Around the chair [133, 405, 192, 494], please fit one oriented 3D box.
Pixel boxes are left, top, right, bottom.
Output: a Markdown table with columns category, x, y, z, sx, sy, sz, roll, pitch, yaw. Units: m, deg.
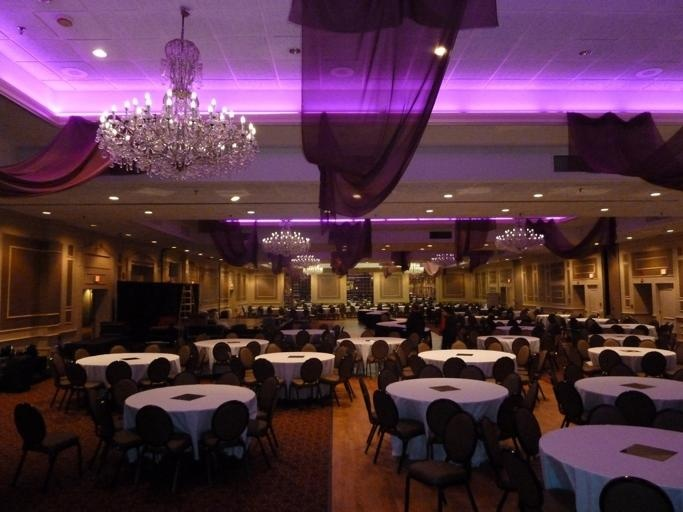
| category | x | y | z | sx | sy | sz | roll | pitch | yaw |
| --- | --- | --- | --- | --- | --- | --- | --- | --- | --- |
| chair | -2.329 | 2.385 | 6.972 | 0.641 | 1.112 | 0.783 | -4 | 5 | -24 |

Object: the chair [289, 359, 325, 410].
| category | x | y | z | sx | sy | sz | roll | pitch | yaw |
| --- | --- | --- | --- | --- | --- | --- | --- | --- | --- |
| chair | -0.686 | 2.346 | 10.047 | 0.635 | 1.001 | 0.744 | -3 | 4 | -6 |

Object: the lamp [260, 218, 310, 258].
| category | x | y | z | sx | sy | sz | roll | pitch | yaw |
| --- | --- | --- | --- | --- | --- | --- | --- | --- | --- |
| lamp | -1.652 | -0.729 | 16.145 | 1.241 | 1.015 | 1.290 | 1 | -13 | -2 |

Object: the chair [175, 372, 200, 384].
| category | x | y | z | sx | sy | sz | roll | pitch | yaw |
| --- | --- | --- | --- | --- | --- | --- | --- | --- | --- |
| chair | -2.425 | 1.908 | 8.392 | 0.385 | 0.169 | 0.327 | -2 | 4 | 9 |

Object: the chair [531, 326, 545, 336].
| category | x | y | z | sx | sy | sz | roll | pitch | yaw |
| --- | --- | --- | --- | --- | --- | --- | --- | --- | --- |
| chair | 5.427 | 2.082 | 14.721 | 0.297 | 0.308 | 0.311 | -8 | -15 | 38 |

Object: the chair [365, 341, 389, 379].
| category | x | y | z | sx | sy | sz | roll | pitch | yaw |
| --- | --- | --- | --- | --- | --- | --- | --- | --- | --- |
| chair | 0.858 | 2.401 | 12.565 | 0.553 | 0.948 | 0.805 | -3 | 4 | -14 |

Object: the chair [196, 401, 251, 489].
| category | x | y | z | sx | sy | sz | roll | pitch | yaw |
| --- | --- | --- | --- | --- | --- | --- | --- | --- | --- |
| chair | -1.561 | 2.356 | 7.109 | 0.601 | 1.085 | 0.713 | -4 | 5 | -17 |

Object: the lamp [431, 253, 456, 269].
| category | x | y | z | sx | sy | sz | roll | pitch | yaw |
| --- | --- | --- | --- | --- | --- | --- | --- | --- | --- |
| lamp | 5.058 | 0.183 | 25.711 | 0.780 | 0.350 | 0.801 | 3 | -10 | -12 |

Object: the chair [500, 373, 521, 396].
| category | x | y | z | sx | sy | sz | roll | pitch | yaw |
| --- | --- | --- | --- | --- | --- | --- | --- | --- | --- |
| chair | 2.540 | 1.895 | 7.921 | 0.282 | 0.422 | 0.302 | -11 | -16 | 43 |

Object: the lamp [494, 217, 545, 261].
| category | x | y | z | sx | sy | sz | roll | pitch | yaw |
| --- | --- | --- | --- | --- | --- | --- | --- | --- | --- |
| lamp | 5.826 | -0.568 | 17.468 | 0.878 | 1.266 | 0.899 | 8 | -11 | -14 |

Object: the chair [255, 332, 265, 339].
| category | x | y | z | sx | sy | sz | roll | pitch | yaw |
| --- | --- | --- | --- | --- | --- | --- | --- | --- | --- |
| chair | -2.096 | 2.064 | 13.765 | 0.221 | 0.173 | 0.225 | 1 | -9 | -9 |

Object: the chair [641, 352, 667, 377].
| category | x | y | z | sx | sy | sz | roll | pitch | yaw |
| --- | --- | --- | --- | --- | --- | --- | --- | --- | --- |
| chair | 5.974 | 2.082 | 10.224 | 0.371 | 0.602 | 0.701 | 1 | 5 | 36 |

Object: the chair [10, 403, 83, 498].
| category | x | y | z | sx | sy | sz | roll | pitch | yaw |
| --- | --- | --- | --- | --- | --- | --- | --- | --- | --- |
| chair | -3.947 | 2.375 | 7.105 | 0.820 | 1.096 | 0.964 | -5 | 5 | -34 |

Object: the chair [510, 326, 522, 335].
| category | x | y | z | sx | sy | sz | roll | pitch | yaw |
| --- | --- | --- | --- | --- | --- | --- | --- | --- | --- |
| chair | 5.004 | 2.145 | 15.369 | 0.250 | 0.239 | 0.259 | 1 | -5 | -4 |

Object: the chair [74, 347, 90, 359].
| category | x | y | z | sx | sy | sz | roll | pitch | yaw |
| --- | --- | --- | --- | --- | --- | --- | --- | --- | --- |
| chair | -5.353 | 2.006 | 10.985 | 0.205 | 0.160 | 0.211 | -3 | -23 | -11 |

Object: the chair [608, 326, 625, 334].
| category | x | y | z | sx | sy | sz | roll | pitch | yaw |
| --- | --- | --- | --- | --- | --- | --- | --- | --- | --- |
| chair | 7.662 | 2.032 | 14.875 | 0.296 | 0.219 | 0.704 | 0 | 4 | 25 |

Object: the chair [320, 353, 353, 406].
| category | x | y | z | sx | sy | sz | roll | pitch | yaw |
| --- | --- | --- | --- | --- | --- | --- | --- | --- | --- |
| chair | -0.084 | 2.340 | 10.577 | 0.621 | 1.060 | 1.255 | -2 | 4 | 0 |

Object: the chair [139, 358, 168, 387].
| category | x | y | z | sx | sy | sz | roll | pitch | yaw |
| --- | --- | --- | --- | --- | --- | --- | --- | --- | --- |
| chair | -3.465 | 2.175 | 9.959 | 0.467 | 0.622 | 0.551 | -6 | 5 | -38 |

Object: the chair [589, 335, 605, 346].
| category | x | y | z | sx | sy | sz | roll | pitch | yaw |
| --- | --- | --- | --- | --- | --- | --- | --- | --- | --- |
| chair | 5.991 | 1.980 | 12.562 | 0.294 | 0.231 | 0.304 | -11 | 0 | 23 |
